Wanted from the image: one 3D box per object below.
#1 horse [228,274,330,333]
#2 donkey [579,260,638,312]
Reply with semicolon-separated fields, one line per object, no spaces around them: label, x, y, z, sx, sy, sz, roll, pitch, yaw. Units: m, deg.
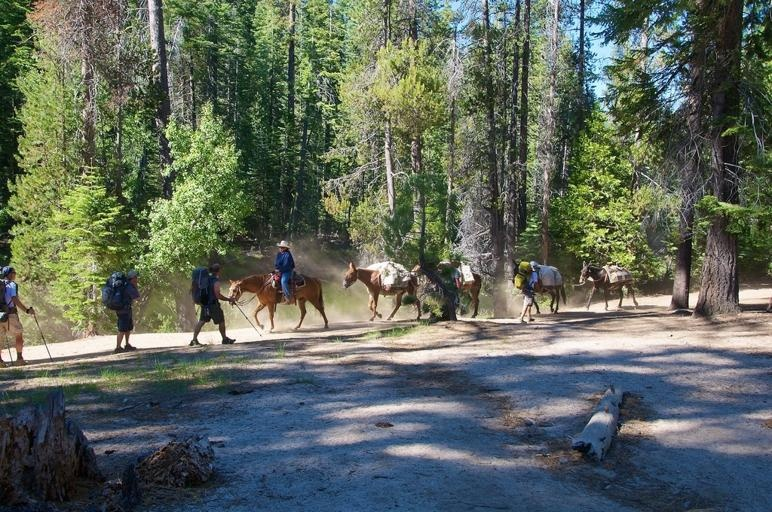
horse;-4.881;2.219;35.945;4.490;2.861;1.072;-5;9;-23
donkey;12.567;1.760;44.374;3.628;2.606;1.229;-1;1;-22
